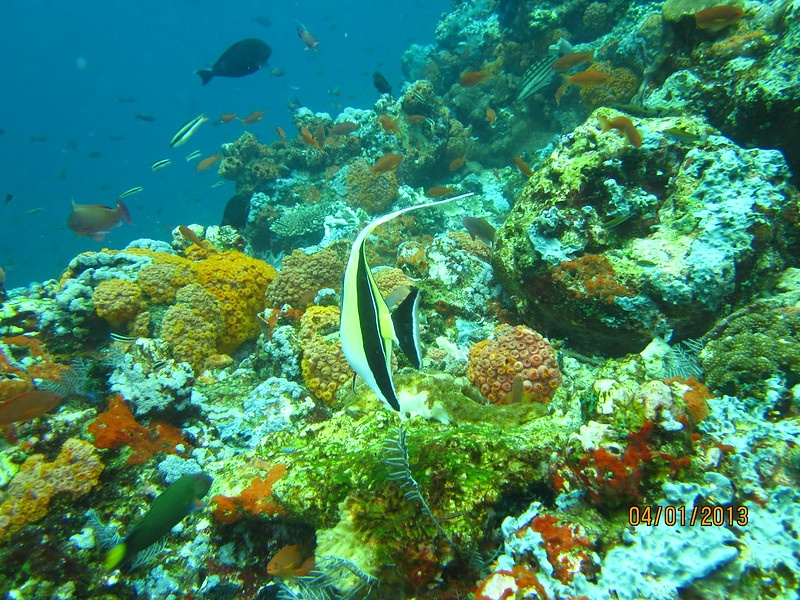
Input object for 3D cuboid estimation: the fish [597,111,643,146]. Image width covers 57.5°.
[{"bbox_3d":[2.670,-2.080,8.891,0.575,0.311,0.158,23,55,35],"label":"fish"}]
